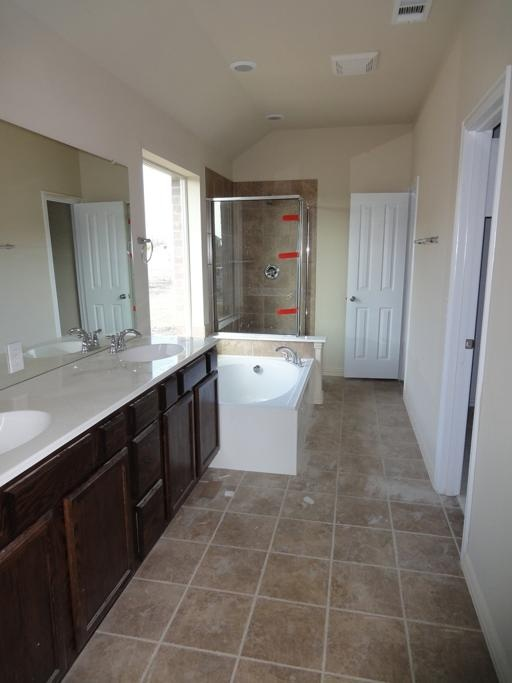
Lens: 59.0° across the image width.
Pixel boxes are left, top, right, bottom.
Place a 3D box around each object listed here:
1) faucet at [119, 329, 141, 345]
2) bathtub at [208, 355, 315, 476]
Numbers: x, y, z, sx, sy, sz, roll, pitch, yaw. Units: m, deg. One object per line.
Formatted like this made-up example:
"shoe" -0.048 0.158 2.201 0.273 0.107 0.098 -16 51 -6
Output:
"faucet" -0.680 -0.035 2.438 0.078 0.076 0.116 8 7 37
"bathtub" 0.015 0.616 2.916 0.543 0.425 0.882 1 11 8
